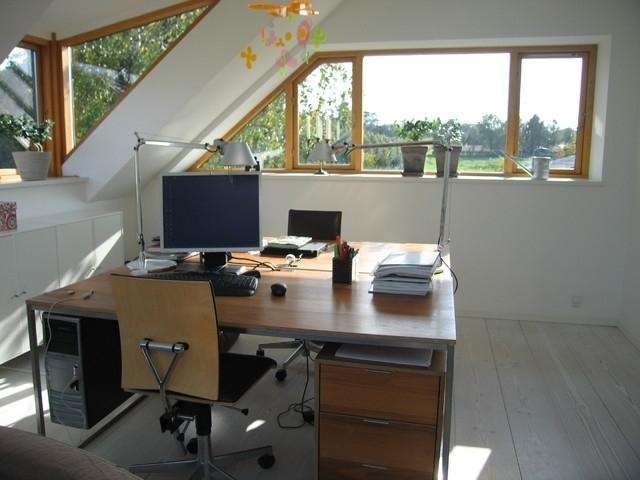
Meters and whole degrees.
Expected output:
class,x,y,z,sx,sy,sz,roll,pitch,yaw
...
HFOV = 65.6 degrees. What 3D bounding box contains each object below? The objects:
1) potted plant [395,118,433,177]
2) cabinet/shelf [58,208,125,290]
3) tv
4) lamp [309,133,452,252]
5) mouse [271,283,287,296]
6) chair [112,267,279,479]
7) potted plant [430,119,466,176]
class,x,y,z,sx,sy,sz,roll,pitch,yaw
potted plant,0.881,-0.890,4.695,0.307,0.612,0.366,0,1,-20
cabinet/shelf,-2.002,0.136,4.622,0.266,0.704,0.785,-3,-1,9
tv,-0.646,-0.111,2.958,0.591,0.607,0.203,0,2,-1
lamp,0.530,-0.372,3.858,0.921,0.907,1.714,3,8,15
mouse,-0.219,0.266,2.664,0.057,0.062,0.075,-3,14,-12
chair,-0.609,0.698,2.482,0.751,1.106,0.400,-3,9,-24
potted plant,1.192,-0.849,4.645,0.248,0.531,0.272,0,-3,22
